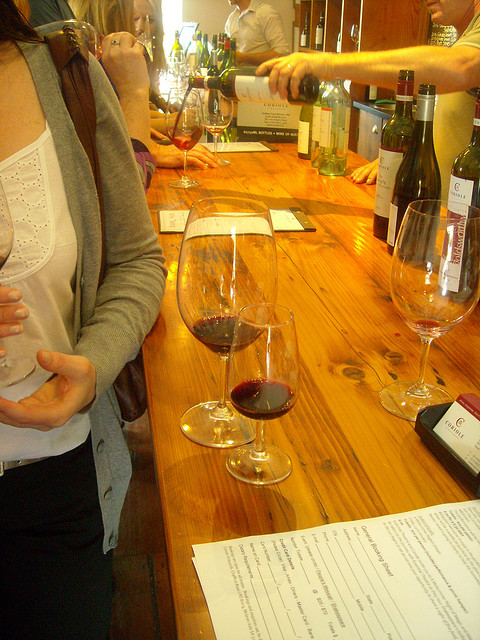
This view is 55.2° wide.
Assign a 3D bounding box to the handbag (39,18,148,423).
[{"bbox_3d":[-0.242,-0.128,0.791,0.096,0.674,0.346,-9,27,-19],"label":"handbag"}]

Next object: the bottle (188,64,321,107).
[{"bbox_3d":[0.000,-0.744,1.439,0.308,0.100,0.094,7,4,10],"label":"bottle"}]

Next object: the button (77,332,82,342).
[{"bbox_3d":[-0.250,0.026,0.714,0.003,0.015,0.015,12,-20,-29],"label":"button"}]

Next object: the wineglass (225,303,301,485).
[{"bbox_3d":[0.020,0.066,0.473,0.072,0.183,0.115,0,26,-2],"label":"wineglass"}]

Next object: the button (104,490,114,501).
[{"bbox_3d":[-0.248,0.330,0.865,0.004,0.017,0.017,12,10,20],"label":"button"}]

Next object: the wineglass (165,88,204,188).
[{"bbox_3d":[-0.200,-0.674,1.663,0.129,0.293,0.464,-3,27,-7],"label":"wineglass"}]

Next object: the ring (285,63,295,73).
[{"bbox_3d":[0.144,-0.731,1.325,0.005,0.021,0.022,-25,49,22],"label":"ring"}]
